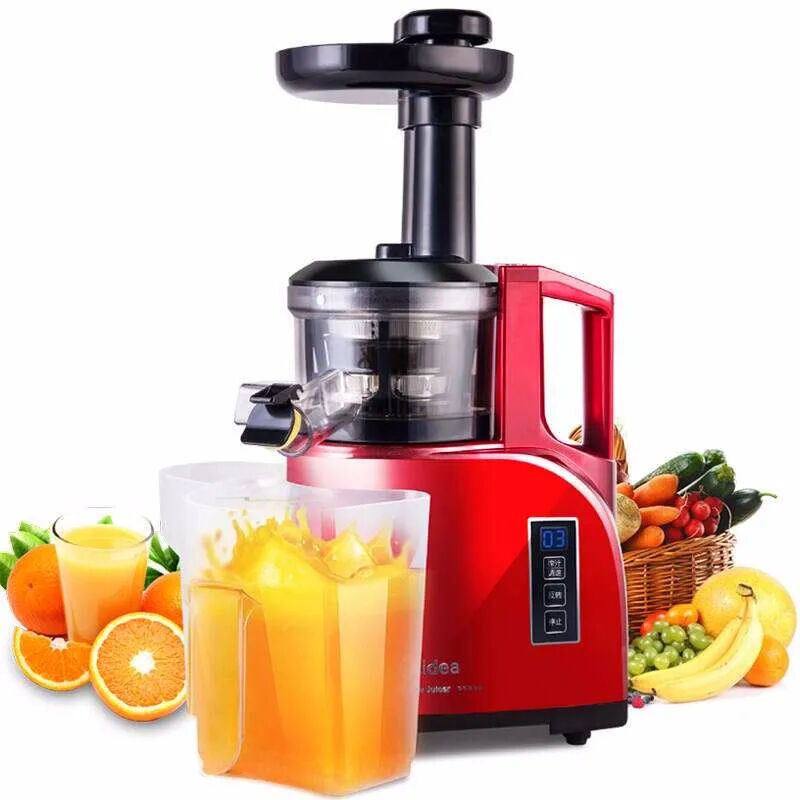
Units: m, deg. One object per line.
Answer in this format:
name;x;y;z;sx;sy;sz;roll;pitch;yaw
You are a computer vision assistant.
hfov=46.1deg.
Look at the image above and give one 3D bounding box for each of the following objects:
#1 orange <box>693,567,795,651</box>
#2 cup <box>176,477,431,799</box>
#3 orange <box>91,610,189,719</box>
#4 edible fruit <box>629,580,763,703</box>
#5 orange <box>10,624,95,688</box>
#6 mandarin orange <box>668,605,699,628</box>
orange;0.603;0.344;1.696;0.215;0.148;0.178;2;0;7
cup;-0.122;0.301;1.377;0.463;0.364;0.374;3;4;36
orange;-0.402;0.416;1.468;0.129;0.145;0.113;-9;15;-37
edible fruit;0.512;0.410;1.547;0.230;0.165;0.097;-5;14;-27
orange;-0.581;0.426;1.566;0.108;0.038;0.104;-18;49;-2
mandarin orange;0.506;0.383;1.674;0.042;0.034;0.043;-12;-26;37
